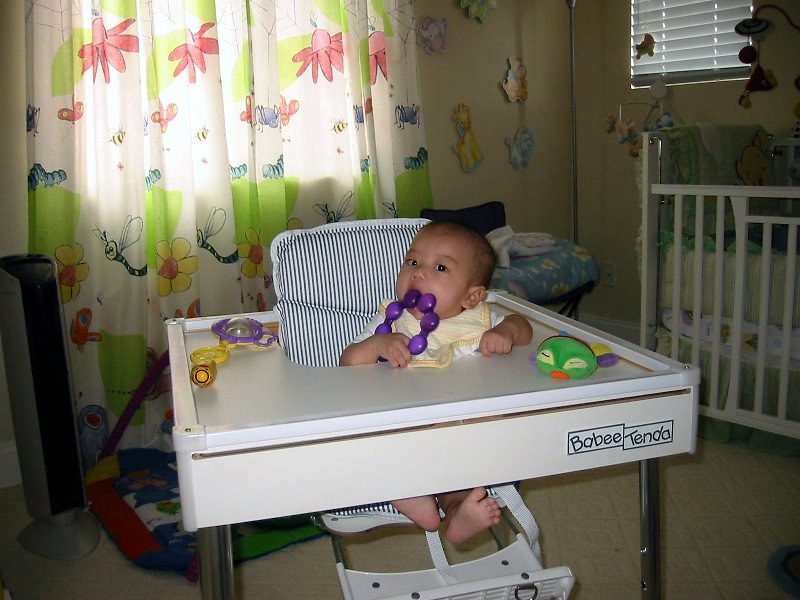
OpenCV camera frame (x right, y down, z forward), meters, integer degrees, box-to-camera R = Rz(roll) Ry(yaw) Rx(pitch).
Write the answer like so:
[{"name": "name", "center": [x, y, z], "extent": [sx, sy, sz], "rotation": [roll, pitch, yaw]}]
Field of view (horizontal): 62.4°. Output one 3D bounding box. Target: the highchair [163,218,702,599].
[{"name": "highchair", "center": [0.012, 0.242, 1.413], "extent": [0.833, 0.768, 0.923], "rotation": [-5, 16, -16]}]

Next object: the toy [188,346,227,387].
[{"name": "toy", "center": [-0.435, 0.145, 1.487], "extent": [0.052, 0.031, 0.105], "rotation": [0, 17, -3]}]

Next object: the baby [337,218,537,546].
[{"name": "baby", "center": [0.090, 0.186, 1.590], "extent": [0.479, 0.342, 0.872], "rotation": [-1, 47, 14]}]

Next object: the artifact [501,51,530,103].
[{"name": "artifact", "center": [0.692, -1.323, 3.892], "extent": [0.161, 0.263, 0.058], "rotation": [-11, 13, -31]}]

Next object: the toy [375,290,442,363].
[{"name": "toy", "center": [0.027, 0.050, 1.617], "extent": [0.127, 0.134, 0.037], "rotation": [40, -15, -15]}]

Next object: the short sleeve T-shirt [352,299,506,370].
[{"name": "short sleeve T-shirt", "center": [0.092, 0.045, 1.624], "extent": [0.194, 0.066, 0.209], "rotation": [7, 38, 30]}]

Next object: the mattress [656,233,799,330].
[{"name": "mattress", "center": [1.362, -0.082, 2.692], "extent": [0.347, 0.252, 0.050], "rotation": [9, 2, 42]}]
